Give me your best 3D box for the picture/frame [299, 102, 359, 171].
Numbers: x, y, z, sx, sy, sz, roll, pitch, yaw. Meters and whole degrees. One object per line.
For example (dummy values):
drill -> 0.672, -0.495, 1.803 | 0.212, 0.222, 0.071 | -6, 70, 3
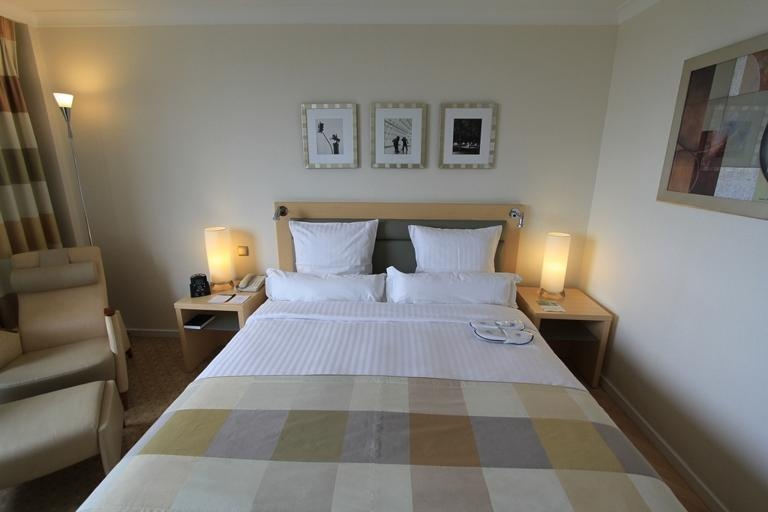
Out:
picture/frame -> -0.503, -1.148, 4.242 | 0.623, 0.651, 0.045 | 0, 20, -1

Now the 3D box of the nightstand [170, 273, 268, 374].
nightstand -> -1.552, 0.690, 4.438 | 0.674, 0.678, 0.541 | 0, 17, 1

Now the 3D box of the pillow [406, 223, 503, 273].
pillow -> 0.644, -0.051, 4.217 | 0.838, 0.506, 0.202 | 1, 19, 10

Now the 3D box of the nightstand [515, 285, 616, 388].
nightstand -> 1.591, 0.750, 4.493 | 0.831, 0.856, 0.860 | 0, 15, 2

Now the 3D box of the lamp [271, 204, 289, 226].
lamp -> -0.991, -0.393, 4.364 | 0.116, 0.060, 0.160 | 10, 49, 14

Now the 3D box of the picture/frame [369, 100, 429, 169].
picture/frame -> 0.142, -1.156, 4.213 | 0.609, 0.643, 0.027 | -1, 12, -1
